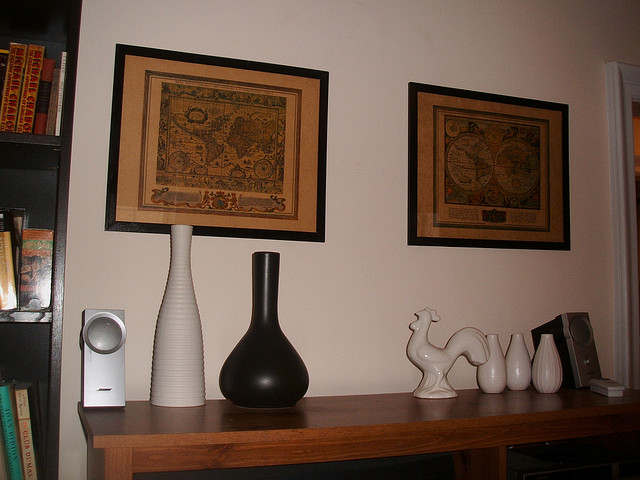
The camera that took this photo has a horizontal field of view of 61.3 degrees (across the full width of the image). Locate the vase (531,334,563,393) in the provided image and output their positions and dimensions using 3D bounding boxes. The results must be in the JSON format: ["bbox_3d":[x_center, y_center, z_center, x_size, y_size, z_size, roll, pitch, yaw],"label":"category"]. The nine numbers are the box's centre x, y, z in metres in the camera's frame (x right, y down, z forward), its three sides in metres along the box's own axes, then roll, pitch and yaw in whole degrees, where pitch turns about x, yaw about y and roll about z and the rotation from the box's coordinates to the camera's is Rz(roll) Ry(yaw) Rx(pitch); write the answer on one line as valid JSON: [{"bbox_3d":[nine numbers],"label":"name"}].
[{"bbox_3d":[0.865,0.476,2.103,0.063,0.226,0.108,4,4,-12],"label":"vase"}]

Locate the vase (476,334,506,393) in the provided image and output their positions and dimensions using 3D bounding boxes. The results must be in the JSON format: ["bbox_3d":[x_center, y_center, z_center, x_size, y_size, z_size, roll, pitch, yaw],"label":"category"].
[{"bbox_3d":[0.658,0.473,2.062,0.113,0.220,0.057,0,-2,4],"label":"vase"}]

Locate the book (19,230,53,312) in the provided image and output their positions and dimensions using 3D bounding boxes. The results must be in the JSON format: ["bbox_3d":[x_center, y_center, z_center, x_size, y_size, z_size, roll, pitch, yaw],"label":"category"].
[{"bbox_3d":[-0.897,0.092,1.718,0.094,0.258,0.027,3,-5,-12],"label":"book"}]

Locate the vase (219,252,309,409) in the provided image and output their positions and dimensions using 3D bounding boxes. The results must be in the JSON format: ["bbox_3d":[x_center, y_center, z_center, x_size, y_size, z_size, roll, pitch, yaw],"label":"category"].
[{"bbox_3d":[-0.208,0.285,1.891,0.278,0.529,0.286,2,-7,-21],"label":"vase"}]

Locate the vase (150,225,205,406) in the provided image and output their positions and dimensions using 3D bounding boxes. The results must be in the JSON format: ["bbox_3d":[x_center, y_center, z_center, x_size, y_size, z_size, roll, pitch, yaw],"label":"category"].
[{"bbox_3d":[-0.465,0.246,1.784,0.169,0.595,0.076,0,-2,-18],"label":"vase"}]

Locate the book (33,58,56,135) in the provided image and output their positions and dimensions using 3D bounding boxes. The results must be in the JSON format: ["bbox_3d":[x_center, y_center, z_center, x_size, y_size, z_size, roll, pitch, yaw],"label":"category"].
[{"bbox_3d":[-0.904,-0.476,1.781,0.049,0.205,0.116,3,3,-24],"label":"book"}]

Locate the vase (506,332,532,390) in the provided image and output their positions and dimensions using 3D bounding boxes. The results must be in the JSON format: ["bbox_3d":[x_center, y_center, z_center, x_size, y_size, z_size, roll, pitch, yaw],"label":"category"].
[{"bbox_3d":[0.766,0.475,2.092,0.086,0.214,0.047,-1,-2,20],"label":"vase"}]

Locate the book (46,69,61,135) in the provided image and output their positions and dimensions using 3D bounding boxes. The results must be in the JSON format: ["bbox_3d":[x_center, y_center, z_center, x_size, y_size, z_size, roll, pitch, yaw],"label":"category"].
[{"bbox_3d":[-0.872,-0.458,1.775,0.028,0.227,0.038,-1,-2,6],"label":"book"}]
